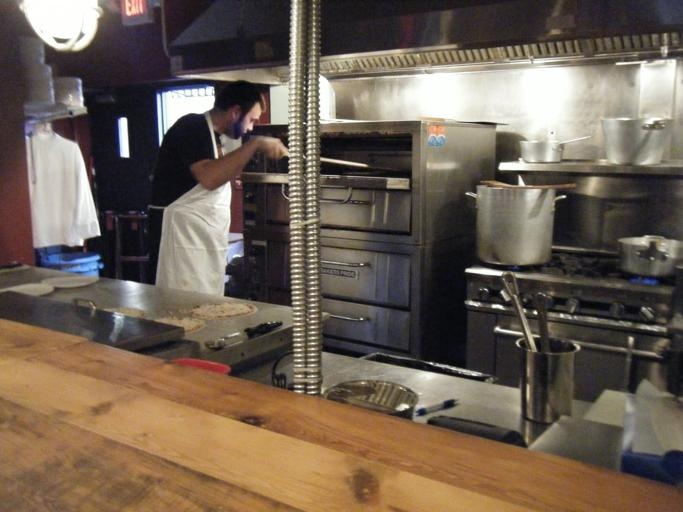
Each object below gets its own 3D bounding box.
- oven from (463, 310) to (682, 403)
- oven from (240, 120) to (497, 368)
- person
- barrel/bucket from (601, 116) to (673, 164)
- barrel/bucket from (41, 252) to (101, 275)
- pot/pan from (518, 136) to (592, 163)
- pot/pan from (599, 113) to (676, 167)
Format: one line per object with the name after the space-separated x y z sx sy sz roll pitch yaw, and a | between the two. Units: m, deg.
1.186 0.300 2.913 0.938 0.727 0.586 1 0 33 | oven
0.259 -0.166 4.001 1.100 1.426 1.628 -8 11 -43 | oven
-0.787 -0.387 3.406 0.872 1.328 0.536 -4 14 -13 | person
1.511 -0.592 2.847 0.290 0.174 0.319 0 4 0 | barrel/bucket
-2.349 0.064 4.806 0.279 0.154 0.253 0 0 2 | barrel/bucket
1.240 -0.605 3.232 0.376 0.115 0.219 7 14 34 | pot/pan
1.508 -0.576 2.849 0.292 0.175 0.324 4 6 41 | pot/pan
